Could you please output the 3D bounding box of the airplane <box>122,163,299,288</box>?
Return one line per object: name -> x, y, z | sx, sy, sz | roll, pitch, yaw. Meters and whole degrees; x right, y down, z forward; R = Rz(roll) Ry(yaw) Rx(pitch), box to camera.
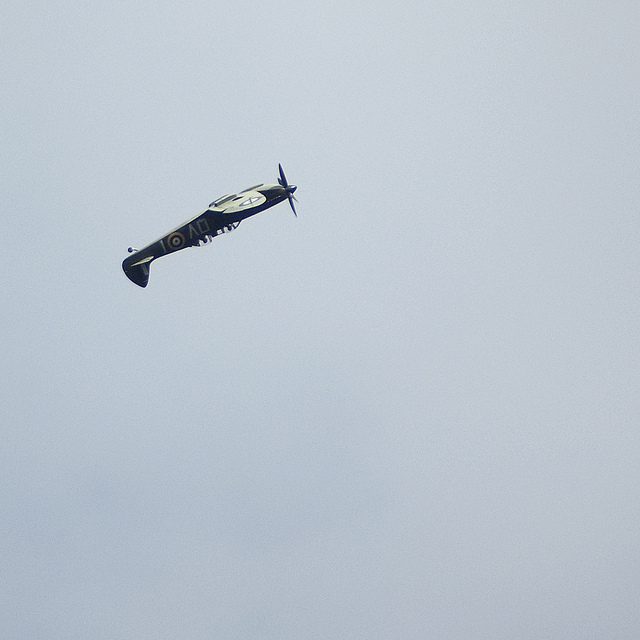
airplane -> -3.022, -2.390, 39.656 | 5.344, 5.781, 1.649 | -27, -92, -12
